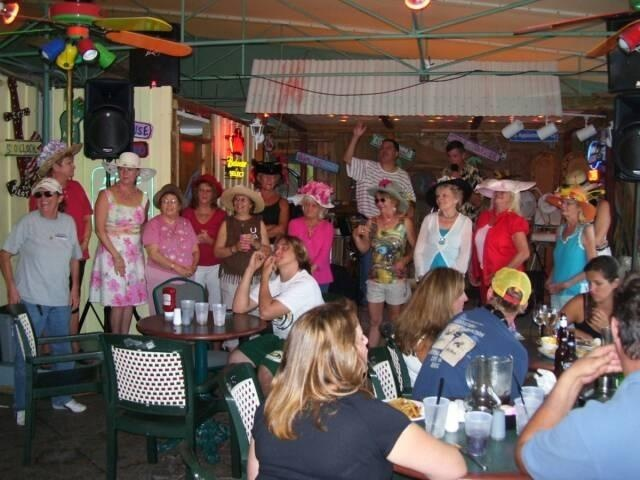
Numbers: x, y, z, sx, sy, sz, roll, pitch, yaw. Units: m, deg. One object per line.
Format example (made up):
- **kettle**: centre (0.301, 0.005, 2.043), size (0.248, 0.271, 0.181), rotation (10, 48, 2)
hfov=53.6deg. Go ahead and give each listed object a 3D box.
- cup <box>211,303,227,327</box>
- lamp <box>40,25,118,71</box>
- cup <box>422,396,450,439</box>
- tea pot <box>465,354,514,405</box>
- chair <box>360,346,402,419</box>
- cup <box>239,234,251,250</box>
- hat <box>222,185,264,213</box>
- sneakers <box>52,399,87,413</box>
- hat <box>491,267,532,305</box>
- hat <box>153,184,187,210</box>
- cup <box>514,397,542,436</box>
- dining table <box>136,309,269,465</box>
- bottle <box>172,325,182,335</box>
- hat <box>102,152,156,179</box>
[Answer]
- **cup**: centre (-0.829, 0.636, 5.302), size (0.158, 0.178, 0.160), rotation (0, -3, 0)
- **lamp**: centre (-2.326, -1.819, 6.043), size (0.482, 0.244, 0.445), rotation (6, 17, 12)
- **cup**: centre (0.612, 0.942, 3.396), size (0.199, 0.201, 0.199), rotation (0, -3, 0)
- **tea pot**: centre (0.939, 0.813, 3.690), size (0.306, 0.327, 0.232), rotation (-1, -4, 27)
- **chair**: centre (0.411, 0.901, 4.157), size (0.271, 0.327, 0.340), rotation (-4, 9, -35)
- **cup**: centre (-0.735, 0.008, 6.292), size (0.139, 0.151, 0.136), rotation (0, -3, 0)
- **hat**: centre (-0.872, -0.489, 7.097), size (0.386, 0.097, 0.380), rotation (1, -35, -3)
- **sneakers**: centre (-2.369, 1.592, 6.031), size (0.325, 0.130, 0.125), rotation (0, 1, 2)
- **hat**: centre (1.284, 0.291, 4.278), size (0.195, 0.152, 0.280), rotation (11, 15, 3)
- **hat**: centre (-1.679, -0.475, 7.019), size (0.311, 0.367, 0.112), rotation (9, 7, -14)
- **cup**: centre (1.121, 0.964, 3.464), size (0.176, 0.183, 0.177), rotation (2, -6, 0)
- **dining table**: centre (-0.854, 1.063, 4.511), size (1.195, 0.830, 1.181), rotation (-1, -5, 0)
- **bottle**: centre (-1.152, 0.732, 5.122), size (0.055, 0.061, 0.055), rotation (1, -7, -4)
- **hat**: centre (-2.164, -0.856, 7.190), size (0.458, 0.142, 0.453), rotation (5, -5, -5)
